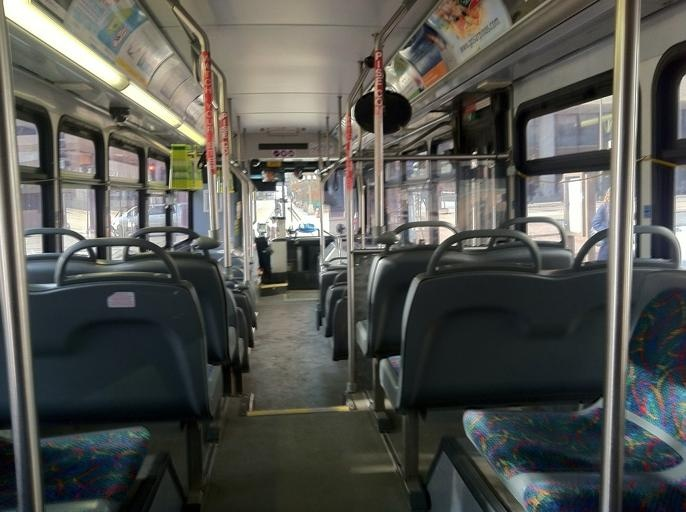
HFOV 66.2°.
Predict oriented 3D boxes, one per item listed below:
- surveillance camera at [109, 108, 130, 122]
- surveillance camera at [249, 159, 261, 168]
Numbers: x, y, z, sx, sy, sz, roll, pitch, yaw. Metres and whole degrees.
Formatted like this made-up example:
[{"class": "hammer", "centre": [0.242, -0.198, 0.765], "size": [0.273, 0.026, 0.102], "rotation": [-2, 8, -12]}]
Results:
[{"class": "surveillance camera", "centre": [-2.128, -1.355, 5.009], "size": [0.122, 0.097, 0.128], "rotation": [0, -1, 19]}, {"class": "surveillance camera", "centre": [-1.668, -1.768, 9.901], "size": [0.215, 0.076, 0.188], "rotation": [-7, -6, 19]}]
